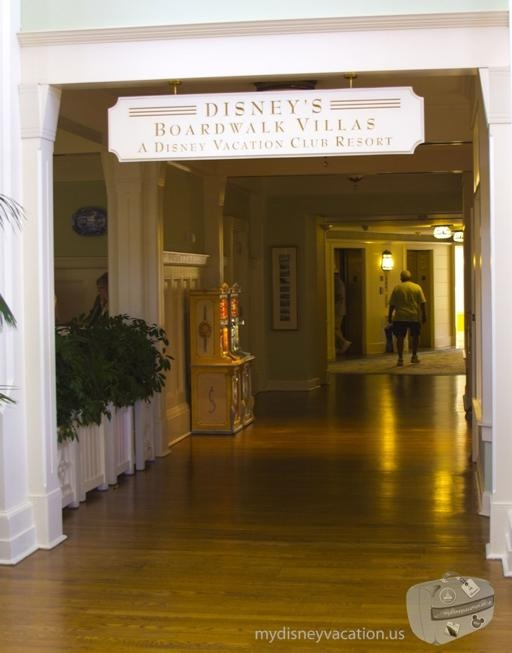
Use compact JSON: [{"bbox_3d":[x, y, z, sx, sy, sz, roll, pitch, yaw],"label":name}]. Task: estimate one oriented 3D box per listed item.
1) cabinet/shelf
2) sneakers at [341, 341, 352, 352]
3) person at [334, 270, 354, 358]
[{"bbox_3d":[-0.425,0.361,7.753,0.649,1.445,0.623,-1,1,0],"label":"cabinet/shelf"},{"bbox_3d":[2.091,0.484,16.009,0.188,0.261,0.256,2,-41,3],"label":"sneakers"},{"bbox_3d":[1.973,-0.295,15.961,0.317,1.513,0.869,-1,1,12],"label":"person"}]
